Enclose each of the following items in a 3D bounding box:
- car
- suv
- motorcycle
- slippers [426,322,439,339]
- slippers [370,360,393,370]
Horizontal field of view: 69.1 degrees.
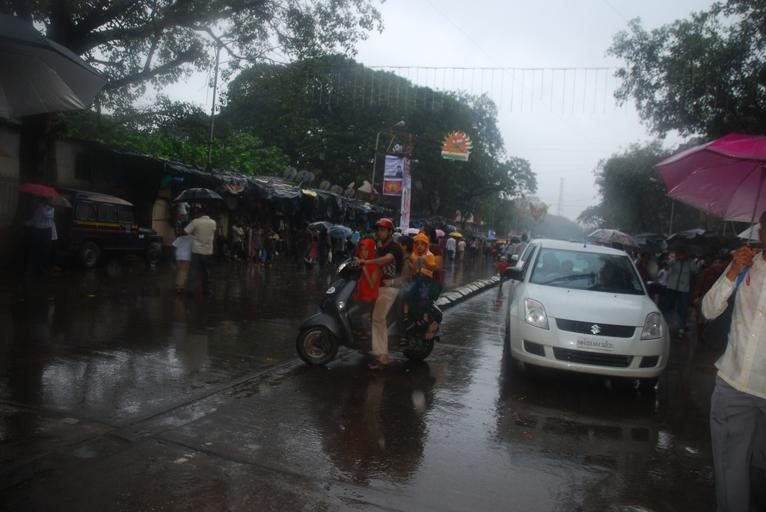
[{"bbox_3d":[3.133,0.817,9.054,1.556,1.452,2.869,7,-6,10],"label":"car"},{"bbox_3d":[-9.955,-1.001,19.837,2.006,2.517,4.412,10,5,23],"label":"suv"},{"bbox_3d":[-0.129,0.781,8.631,2.153,1.765,1.021,2,-8,-18],"label":"motorcycle"},{"bbox_3d":[0.778,1.154,8.754,0.156,0.311,0.080,21,3,-8],"label":"slippers"},{"bbox_3d":[-0.009,1.631,8.343,0.342,0.163,0.129,5,1,-13],"label":"slippers"}]
